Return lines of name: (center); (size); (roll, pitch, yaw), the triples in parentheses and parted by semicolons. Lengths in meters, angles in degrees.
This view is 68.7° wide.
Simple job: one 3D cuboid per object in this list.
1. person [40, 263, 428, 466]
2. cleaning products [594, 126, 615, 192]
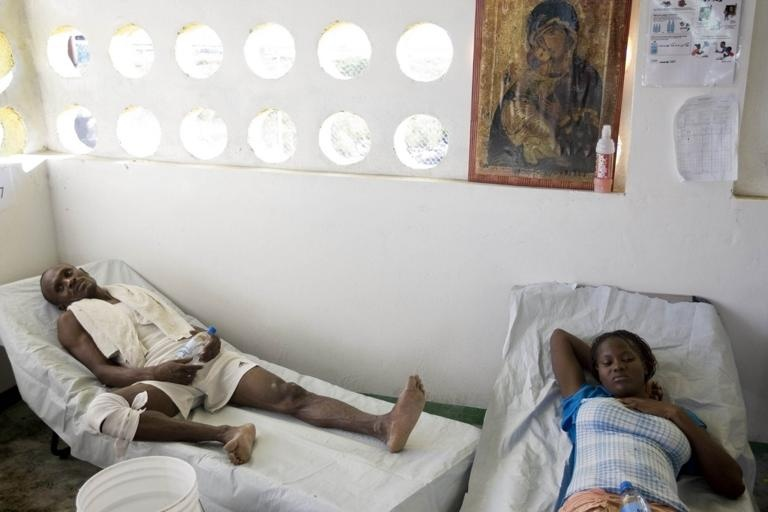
person: (-0.889, 0.632, 2.691); (1.773, 0.483, 0.867); (22, 19, 18)
cleaning products: (1.118, -0.492, 2.845); (0.100, 0.336, 0.079); (0, 16, 5)
